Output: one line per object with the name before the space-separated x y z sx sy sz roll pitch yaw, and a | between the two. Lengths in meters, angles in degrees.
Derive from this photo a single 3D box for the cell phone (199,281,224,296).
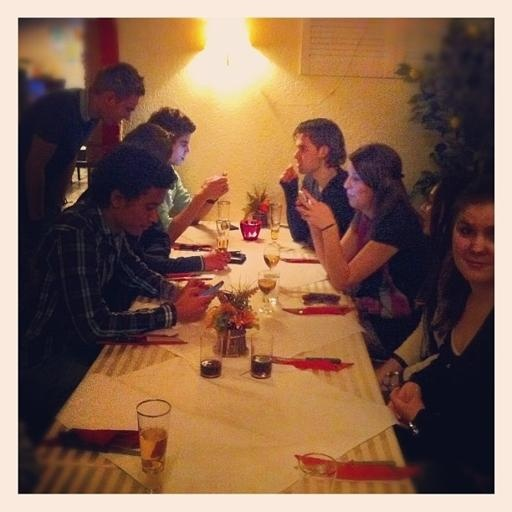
cell phone | -0.155 0.112 1.628 0.020 0.030 0.121 -22 -2 38

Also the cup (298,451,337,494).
cup | 0.117 0.406 0.863 0.056 0.045 0.066 0 -7 -5

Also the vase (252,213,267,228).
vase | 0.021 -0.220 2.780 0.077 0.081 0.073 -3 32 -3

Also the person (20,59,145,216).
person | -0.819 -0.542 2.073 0.356 0.883 0.286 24 28 -36

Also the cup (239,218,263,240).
cup | -0.037 -0.158 2.564 0.114 0.098 0.119 0 0 0

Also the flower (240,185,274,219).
flower | 0.008 -0.316 2.630 0.140 0.175 0.156 1 10 2
